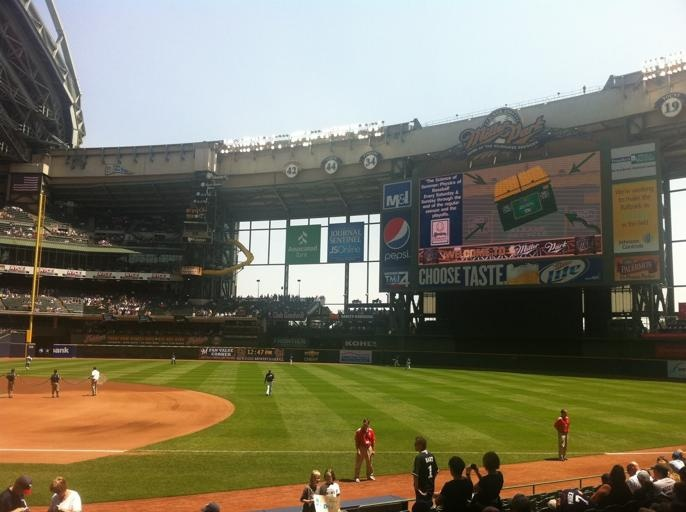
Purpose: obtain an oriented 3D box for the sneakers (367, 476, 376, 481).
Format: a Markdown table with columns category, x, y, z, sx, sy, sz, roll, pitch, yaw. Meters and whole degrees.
| category | x | y | z | sx | sy | sz | roll | pitch | yaw |
| --- | --- | --- | --- | --- | --- | --- | --- | --- | --- |
| sneakers | 1.467 | 11.342 | 38.639 | 0.477 | 0.196 | 0.148 | -7 | -5 | 42 |
